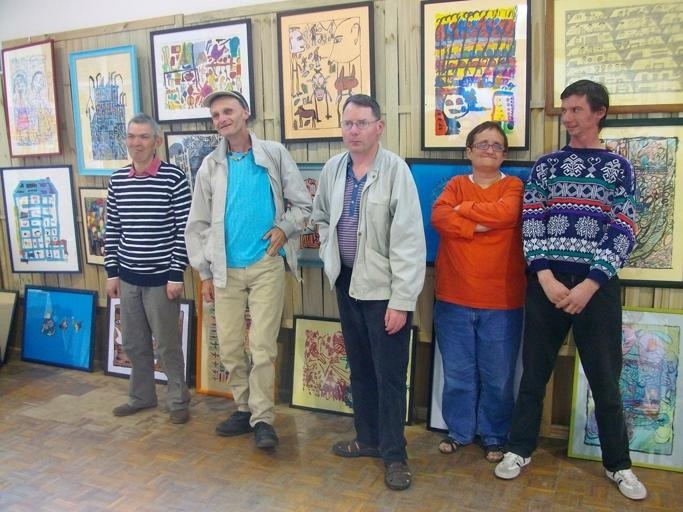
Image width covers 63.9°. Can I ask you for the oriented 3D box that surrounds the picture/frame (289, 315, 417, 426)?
[{"bbox_3d":[0.100,0.793,3.697,0.829,0.623,0.031,0,0,30],"label":"picture/frame"}]

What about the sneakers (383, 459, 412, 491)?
[{"bbox_3d":[0.334,1.298,3.258,0.164,0.128,0.121,-3,9,3],"label":"sneakers"}]

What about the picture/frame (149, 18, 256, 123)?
[{"bbox_3d":[-1.043,-1.463,4.248,1.031,0.864,0.041,2,13,21],"label":"picture/frame"}]

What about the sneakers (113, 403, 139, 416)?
[{"bbox_3d":[-1.616,1.148,4.126,0.179,0.071,0.077,10,0,-39],"label":"sneakers"}]

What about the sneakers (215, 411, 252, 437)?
[{"bbox_3d":[-0.739,1.175,3.823,0.268,0.122,0.129,1,3,-21],"label":"sneakers"}]

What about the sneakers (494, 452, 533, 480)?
[{"bbox_3d":[1.023,1.268,3.312,0.101,0.098,0.245,4,5,45],"label":"sneakers"}]

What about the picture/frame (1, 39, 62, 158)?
[{"bbox_3d":[-2.847,-1.428,5.035,0.692,0.990,0.106,1,10,27],"label":"picture/frame"}]

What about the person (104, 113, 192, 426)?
[{"bbox_3d":[-1.446,0.091,4.065,0.704,2.233,0.405,-1,9,13],"label":"person"}]

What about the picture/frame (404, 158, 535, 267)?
[{"bbox_3d":[0.839,-0.275,3.467,0.728,0.603,0.028,0,-1,11],"label":"picture/frame"}]

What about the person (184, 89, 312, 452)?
[{"bbox_3d":[-0.594,0.088,3.662,0.868,2.322,0.474,-5,9,-10],"label":"person"}]

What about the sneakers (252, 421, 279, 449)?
[{"bbox_3d":[-0.497,1.192,3.623,0.144,0.174,0.186,-5,9,-10],"label":"sneakers"}]

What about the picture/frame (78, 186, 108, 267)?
[{"bbox_3d":[-2.202,-0.295,4.887,0.052,0.709,0.577,-9,18,-43],"label":"picture/frame"}]

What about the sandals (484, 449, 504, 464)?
[{"bbox_3d":[0.970,1.262,3.485,0.061,0.033,0.105,1,21,21],"label":"sandals"}]

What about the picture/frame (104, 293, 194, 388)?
[{"bbox_3d":[-1.474,0.674,4.294,0.767,0.576,0.031,3,4,33],"label":"picture/frame"}]

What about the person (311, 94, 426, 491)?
[{"bbox_3d":[0.161,0.194,3.368,0.395,2.291,0.703,-11,12,-39],"label":"person"}]

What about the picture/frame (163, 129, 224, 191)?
[{"bbox_3d":[-1.101,-0.728,4.142,0.536,0.561,0.028,9,20,24],"label":"picture/frame"}]

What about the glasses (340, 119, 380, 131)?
[{"bbox_3d":[0.111,-0.766,3.199,0.207,0.060,0.075,-3,9,4],"label":"glasses"}]

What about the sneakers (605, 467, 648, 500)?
[{"bbox_3d":[1.640,1.315,3.198,0.091,0.098,0.239,-17,0,-13],"label":"sneakers"}]

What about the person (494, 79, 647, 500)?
[{"bbox_3d":[1.352,0.174,3.227,0.772,2.361,0.488,-1,9,17],"label":"person"}]

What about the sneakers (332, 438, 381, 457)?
[{"bbox_3d":[0.090,1.236,3.598,0.275,0.114,0.120,6,0,5],"label":"sneakers"}]
